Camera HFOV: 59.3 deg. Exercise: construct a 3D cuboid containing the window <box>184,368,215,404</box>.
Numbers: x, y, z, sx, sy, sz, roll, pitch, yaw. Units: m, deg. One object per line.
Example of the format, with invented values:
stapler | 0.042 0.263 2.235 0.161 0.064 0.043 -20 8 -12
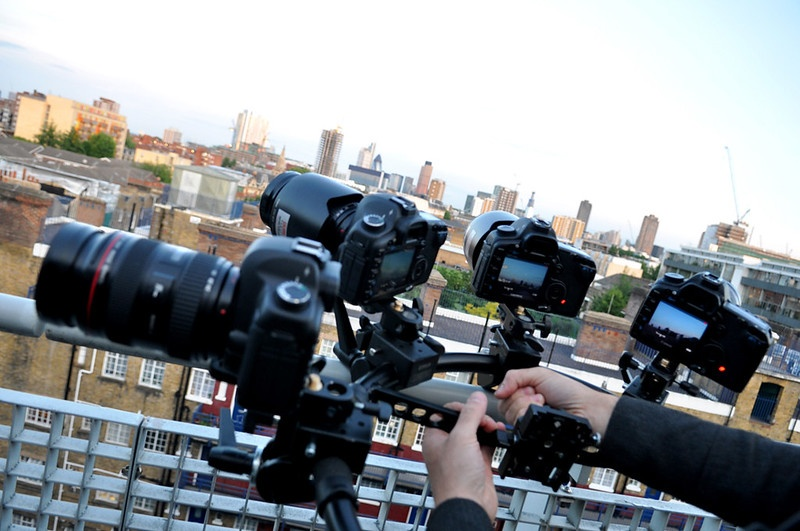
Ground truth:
window | -6.374 3.847 22.473 0.821 0.108 1.175 18 44 -21
